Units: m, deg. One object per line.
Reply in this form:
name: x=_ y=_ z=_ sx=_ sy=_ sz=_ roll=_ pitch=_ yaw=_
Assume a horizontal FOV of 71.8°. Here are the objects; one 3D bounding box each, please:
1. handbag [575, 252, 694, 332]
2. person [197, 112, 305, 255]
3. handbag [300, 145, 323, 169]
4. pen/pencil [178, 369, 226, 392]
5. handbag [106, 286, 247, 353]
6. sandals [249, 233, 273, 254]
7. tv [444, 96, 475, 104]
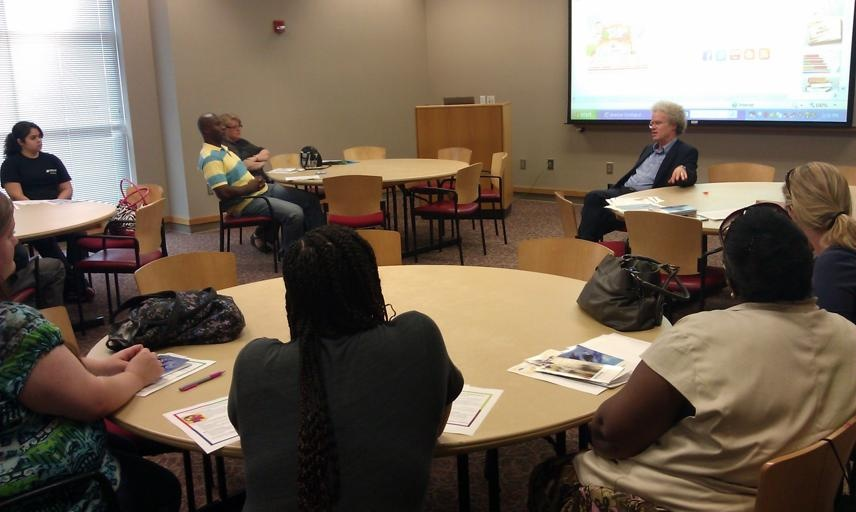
handbag: x=0.932 y=0.149 z=2.683 sx=0.444 sy=0.192 sz=0.307 roll=-4 pitch=13 yaw=-13
person: x=-1.747 y=-0.690 z=6.037 sx=1.098 sy=1.501 sz=0.710 roll=-1 pitch=22 yaw=0
handbag: x=-1.327 y=-1.108 z=6.701 sx=0.290 sy=0.197 sz=0.282 roll=1 pitch=7 yaw=-2
pen/pencil: x=-0.926 y=0.512 z=2.415 sx=0.025 sy=0.023 sz=0.178 roll=5 pitch=16 yaw=32
handbag: x=-1.125 y=0.279 z=2.683 sx=0.393 sy=0.153 sz=0.345 roll=-5 pitch=9 yaw=-16
sandals: x=-1.901 y=-0.168 z=6.650 sx=0.151 sy=0.164 sz=0.431 roll=-11 pitch=24 yaw=-31
tv: x=0.429 y=-2.106 z=7.966 sx=0.399 sy=0.092 sz=0.367 roll=2 pitch=8 yaw=5
